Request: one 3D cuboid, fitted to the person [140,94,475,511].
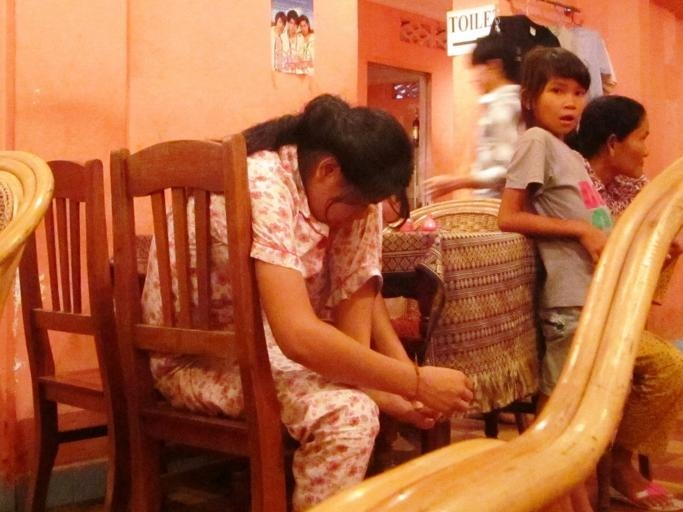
[{"bbox_3d":[-0.085,0.053,1.791,0.950,1.500,0.646,1,2,13],"label":"person"}]
